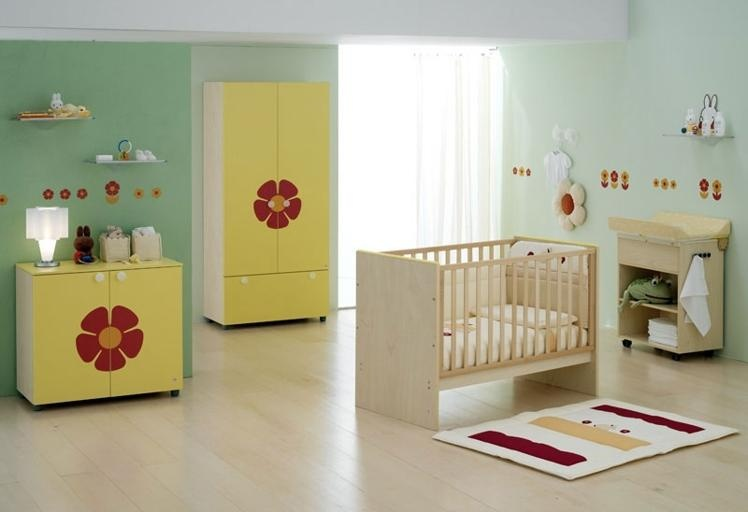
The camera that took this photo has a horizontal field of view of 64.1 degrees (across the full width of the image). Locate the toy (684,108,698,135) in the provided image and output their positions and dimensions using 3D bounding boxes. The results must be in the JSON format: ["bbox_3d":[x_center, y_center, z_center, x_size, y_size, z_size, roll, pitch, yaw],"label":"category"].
[{"bbox_3d":[2.686,-1.120,5.027,0.097,0.213,0.145,5,10,27],"label":"toy"}]

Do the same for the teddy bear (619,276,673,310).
[{"bbox_3d":[2.408,0.311,5.155,0.348,0.147,0.275,-6,4,-35],"label":"teddy bear"}]

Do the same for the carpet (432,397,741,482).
[{"bbox_3d":[1.254,1.073,3.598,1.632,0.040,0.762,-4,10,-24],"label":"carpet"}]

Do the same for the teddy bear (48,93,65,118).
[{"bbox_3d":[-2.172,-1.026,4.059,0.097,0.170,0.129,-5,10,-26],"label":"teddy bear"}]

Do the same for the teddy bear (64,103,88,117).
[{"bbox_3d":[-2.053,-1.000,4.111,0.154,0.097,0.127,-3,10,-20],"label":"teddy bear"}]

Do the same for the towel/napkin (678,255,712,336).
[{"bbox_3d":[2.618,0.321,4.841,0.277,0.648,0.121,-5,10,-28],"label":"towel/napkin"}]

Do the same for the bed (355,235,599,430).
[{"bbox_3d":[0.745,0.478,4.330,1.525,1.016,1.044,-4,6,-29],"label":"bed"}]

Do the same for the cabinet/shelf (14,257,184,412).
[{"bbox_3d":[-1.875,0.522,3.977,1.026,0.863,0.423,-1,2,-28],"label":"cabinet/shelf"}]

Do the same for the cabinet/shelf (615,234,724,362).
[{"bbox_3d":[2.522,0.350,5.017,0.613,1.151,1.035,-1,2,-18],"label":"cabinet/shelf"}]

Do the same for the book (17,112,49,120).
[{"bbox_3d":[-2.301,-0.934,4.016,0.221,0.051,0.077,-2,9,-13],"label":"book"}]

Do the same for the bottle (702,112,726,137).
[{"bbox_3d":[2.807,-1.062,4.894,0.099,0.270,0.197,-4,6,-43],"label":"bottle"}]

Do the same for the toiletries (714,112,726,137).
[{"bbox_3d":[2.845,-1.067,4.887,0.106,0.195,0.068,-5,10,-27],"label":"toiletries"}]
